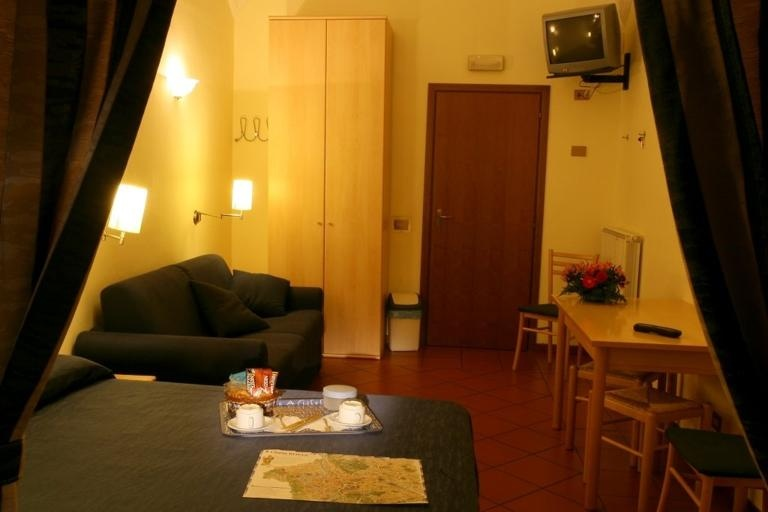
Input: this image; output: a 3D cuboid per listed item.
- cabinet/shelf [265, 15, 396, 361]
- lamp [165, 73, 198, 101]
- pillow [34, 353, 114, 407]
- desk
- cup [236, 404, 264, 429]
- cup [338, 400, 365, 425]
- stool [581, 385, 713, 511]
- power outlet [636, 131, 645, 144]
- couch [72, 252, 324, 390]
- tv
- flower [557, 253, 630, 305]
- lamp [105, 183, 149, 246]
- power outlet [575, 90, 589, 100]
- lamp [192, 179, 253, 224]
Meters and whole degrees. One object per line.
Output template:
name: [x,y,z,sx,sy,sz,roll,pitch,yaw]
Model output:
cabinet/shelf: [-0.516,-0.599,5.532,1.044,3.037,0.372,1,11,11]
lamp: [-1.562,-1.328,4.780,0.195,0.200,0.469,-2,10,-6]
pillow: [-1.427,0.556,2.767,0.402,0.096,0.408,6,6,3]
desk: [1.385,0.827,3.337,0.610,0.738,1.174,-1,9,1]
cup: [-0.497,0.582,2.253,0.086,0.060,0.086,1,5,0]
cup: [-0.118,0.579,2.268,0.069,0.059,0.091,1,8,-5]
stool: [1.362,0.958,3.369,0.628,0.647,0.613,-2,5,-27]
power outlet: [2.151,-0.989,5.076,0.021,0.082,0.089,2,2,-30]
couch: [-1.186,0.590,4.329,1.158,1.091,1.789,0,11,6]
tv: [1.722,-1.851,5.217,0.643,0.523,0.374,-3,28,44]
flower: [1.443,0.150,4.162,0.328,0.221,0.333,2,4,34]
lamp: [-1.644,-0.256,3.838,0.252,0.411,0.481,-6,12,-25]
power outlet: [1.879,-1.525,5.774,0.130,0.085,0.045,1,5,8]
lamp: [-1.430,-0.500,5.585,0.467,0.399,0.892,-2,10,-5]
